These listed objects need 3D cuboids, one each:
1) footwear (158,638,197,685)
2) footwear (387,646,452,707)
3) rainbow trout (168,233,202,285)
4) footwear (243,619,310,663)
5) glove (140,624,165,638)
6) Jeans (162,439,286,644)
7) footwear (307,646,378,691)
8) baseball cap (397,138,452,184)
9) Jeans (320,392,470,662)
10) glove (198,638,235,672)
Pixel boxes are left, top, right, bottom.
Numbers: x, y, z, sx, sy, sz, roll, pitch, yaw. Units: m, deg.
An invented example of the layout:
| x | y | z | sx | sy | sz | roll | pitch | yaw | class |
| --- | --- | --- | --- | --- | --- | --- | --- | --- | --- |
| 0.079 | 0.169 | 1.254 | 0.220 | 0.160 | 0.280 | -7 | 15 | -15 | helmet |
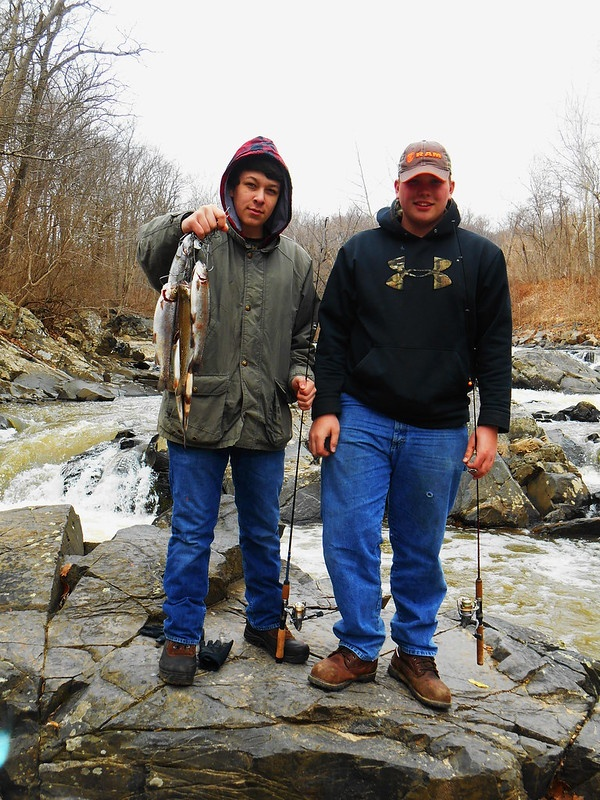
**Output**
| x | y | z | sx | sy | sz | roll | pitch | yaw | class |
| --- | --- | --- | --- | --- | --- | --- | --- | --- | --- |
| -0.445 | 0.962 | 2.267 | 0.146 | 0.145 | 0.141 | 4 | 7 | -16 | footwear |
| 0.453 | 1.046 | 2.309 | 0.103 | 0.129 | 0.280 | 12 | -11 | -24 | footwear |
| -0.404 | -0.500 | 2.166 | 0.068 | 0.203 | 0.084 | 22 | 13 | 12 | rainbow trout |
| -0.107 | 1.005 | 2.607 | 0.306 | 0.144 | 0.119 | 12 | 1 | 36 | footwear |
| -0.652 | 1.009 | 2.703 | 0.070 | 0.041 | 0.115 | 12 | -19 | -4 | glove |
| -0.270 | 0.473 | 2.474 | 0.507 | 1.095 | 0.255 | 0 | 12 | -10 | Jeans |
| 0.158 | 1.004 | 2.284 | 0.304 | 0.140 | 0.110 | 24 | -21 | -38 | footwear |
| 0.459 | -0.880 | 2.247 | 0.196 | 0.162 | 0.191 | 7 | 7 | 7 | baseball cap |
| 0.313 | 0.493 | 2.324 | 0.504 | 0.972 | 0.272 | 8 | 7 | 14 | Jeans |
| -0.338 | 1.019 | 2.437 | 0.169 | 0.078 | 0.206 | 2 | 2 | 3 | glove |
